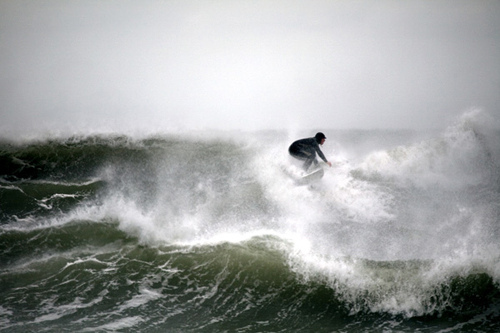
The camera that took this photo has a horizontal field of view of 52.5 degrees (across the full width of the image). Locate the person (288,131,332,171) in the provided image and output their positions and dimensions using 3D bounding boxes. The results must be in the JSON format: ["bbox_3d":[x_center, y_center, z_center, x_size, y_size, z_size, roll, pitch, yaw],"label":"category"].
[{"bbox_3d":[2.016,-0.548,16.510,1.373,1.546,0.849,17,23,30],"label":"person"}]

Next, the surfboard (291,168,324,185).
[{"bbox_3d":[1.904,0.392,16.284,1.200,0.378,0.250,-26,9,-9],"label":"surfboard"}]
